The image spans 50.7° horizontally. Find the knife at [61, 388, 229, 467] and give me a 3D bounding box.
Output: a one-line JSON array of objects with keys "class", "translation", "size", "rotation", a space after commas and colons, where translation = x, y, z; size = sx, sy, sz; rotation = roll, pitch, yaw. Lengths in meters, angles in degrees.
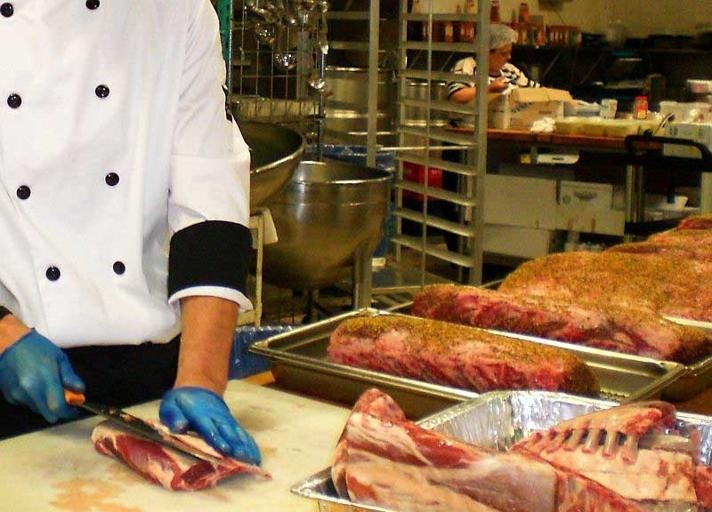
[{"class": "knife", "translation": [-0.388, 0.323, 1.394], "size": [0.314, 0.030, 0.048], "rotation": [20, 22, 40]}]

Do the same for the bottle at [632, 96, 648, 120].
[{"class": "bottle", "translation": [2.079, -1.079, 5.507], "size": [0.092, 0.159, 0.167], "rotation": [5, 8, 18]}]

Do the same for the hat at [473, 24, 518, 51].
[{"class": "hat", "translation": [1.123, -1.686, 5.793], "size": [0.189, 0.192, 0.343], "rotation": [4, 8, 14]}]

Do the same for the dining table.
[{"class": "dining table", "translation": [1.587, -0.490, 5.903], "size": [1.237, 1.249, 0.967], "rotation": [9, 14, 43]}]
